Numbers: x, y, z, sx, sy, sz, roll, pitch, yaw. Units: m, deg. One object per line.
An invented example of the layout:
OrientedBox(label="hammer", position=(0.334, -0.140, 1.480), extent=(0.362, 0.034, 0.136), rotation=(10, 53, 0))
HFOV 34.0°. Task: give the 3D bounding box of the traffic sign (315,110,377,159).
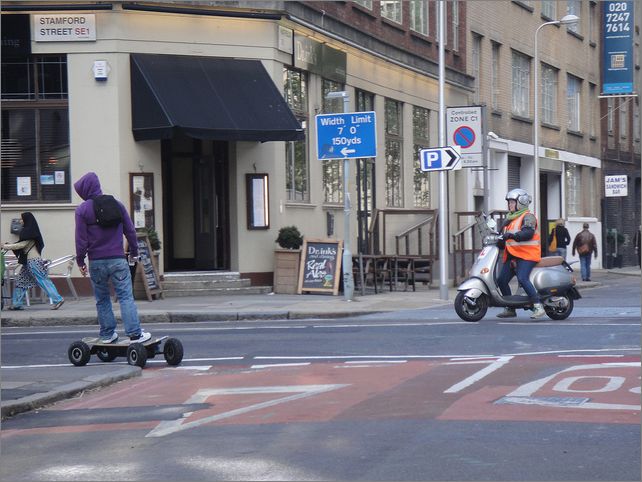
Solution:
OrientedBox(label="traffic sign", position=(0.520, -2.176, 21.508), extent=(1.223, 0.926, 0.466), rotation=(-1, 1, 5))

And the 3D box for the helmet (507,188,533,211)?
OrientedBox(label="helmet", position=(3.427, -0.715, 17.961), extent=(0.385, 0.339, 0.333), rotation=(2, -6, -7))

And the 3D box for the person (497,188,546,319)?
OrientedBox(label="person", position=(3.409, 0.236, 17.845), extent=(0.697, 2.216, 0.515), rotation=(-1, 1, 21))

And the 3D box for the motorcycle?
OrientedBox(label="motorcycle", position=(3.413, 0.512, 18.180), extent=(2.204, 1.748, 1.057), rotation=(0, -4, -8))

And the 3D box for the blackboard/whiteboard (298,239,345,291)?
OrientedBox(label="blackboard/whiteboard", position=(0.019, 0.577, 23.209), extent=(1.061, 1.248, 0.322), rotation=(-1, 1, 26))

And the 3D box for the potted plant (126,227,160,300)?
OrientedBox(label="potted plant", position=(-3.448, 0.475, 20.293), extent=(1.026, 1.533, 0.379), rotation=(1, 1, 44))

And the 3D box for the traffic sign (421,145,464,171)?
OrientedBox(label="traffic sign", position=(2.536, -1.745, 22.205), extent=(0.935, 0.487, 0.306), rotation=(-1, 1, 26))

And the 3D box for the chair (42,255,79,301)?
OrientedBox(label="chair", position=(-5.597, 0.779, 22.471), extent=(0.880, 1.174, 0.911), rotation=(5, 4, -5))

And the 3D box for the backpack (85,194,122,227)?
OrientedBox(label="backpack", position=(-2.903, -0.412, 14.317), extent=(0.344, 0.460, 0.268), rotation=(-16, 5, -31))
